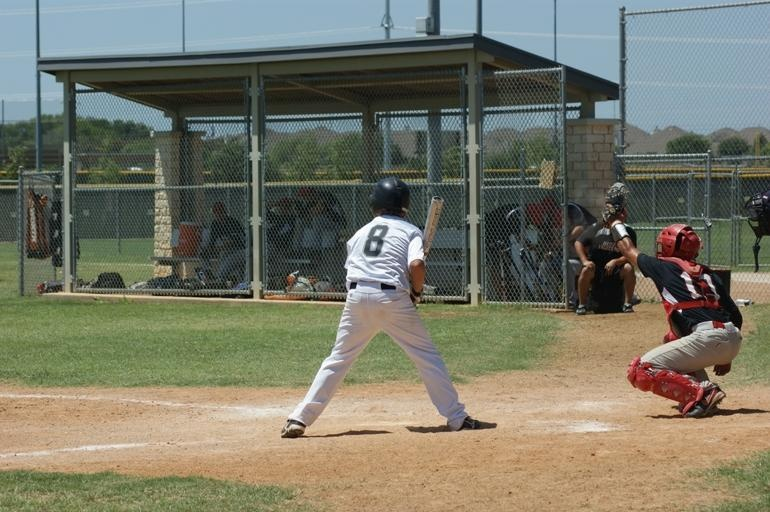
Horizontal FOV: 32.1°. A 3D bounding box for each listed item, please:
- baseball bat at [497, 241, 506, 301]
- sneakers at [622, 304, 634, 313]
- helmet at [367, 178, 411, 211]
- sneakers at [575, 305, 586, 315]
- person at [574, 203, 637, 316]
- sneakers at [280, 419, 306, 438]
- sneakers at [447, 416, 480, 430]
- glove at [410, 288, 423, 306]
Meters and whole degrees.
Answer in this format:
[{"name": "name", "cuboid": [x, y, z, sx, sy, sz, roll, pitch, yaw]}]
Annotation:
[{"name": "baseball bat", "cuboid": [2.234, 0.269, 25.363, 0.161, 1.038, 0.162, 0, 13, 8]}, {"name": "sneakers", "cuboid": [4.421, 0.937, 24.357, 0.224, 0.105, 0.101, -2, 3, 8]}, {"name": "helmet", "cuboid": [0.074, -0.854, 18.451, 0.432, 0.426, 0.481, 2, 28, -4]}, {"name": "sneakers", "cuboid": [3.581, 0.953, 24.347, 0.183, 0.165, 0.256, 0, 14, 6]}, {"name": "person", "cuboid": [4.109, -0.041, 24.395, 1.184, 2.212, 1.164, 2, -4, 29]}, {"name": "sneakers", "cuboid": [-1.254, 2.347, 18.227, 0.164, 0.218, 0.422, 14, -27, -22]}, {"name": "sneakers", "cuboid": [1.087, 2.237, 18.320, 0.475, 0.211, 0.183, -3, 1, 1]}, {"name": "glove", "cuboid": [0.415, 0.560, 18.327, 0.182, 0.083, 0.354, 7, -46, 1]}]
